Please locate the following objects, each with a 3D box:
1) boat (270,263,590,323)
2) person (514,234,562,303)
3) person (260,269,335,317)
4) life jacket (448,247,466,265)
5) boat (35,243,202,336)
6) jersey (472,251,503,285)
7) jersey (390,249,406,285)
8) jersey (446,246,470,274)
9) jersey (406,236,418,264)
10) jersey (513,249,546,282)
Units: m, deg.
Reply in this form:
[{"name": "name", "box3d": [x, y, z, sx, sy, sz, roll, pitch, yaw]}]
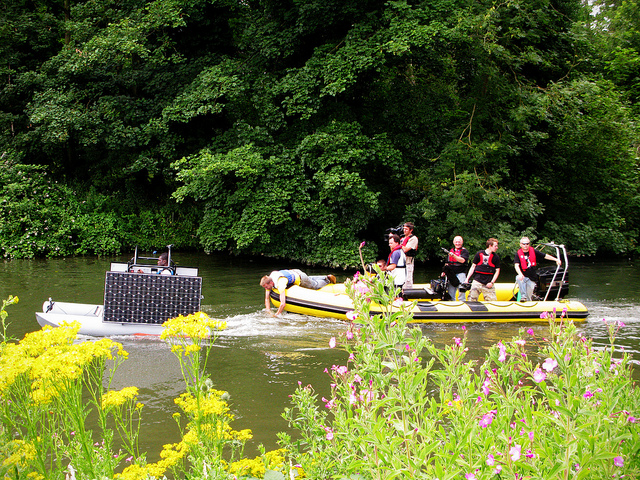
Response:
[{"name": "boat", "box3d": [2.471, 1.542, 20.269, 7.314, 1.209, 5.296, 1, -2, -19]}, {"name": "person", "box3d": [5.914, 0.816, 20.337, 1.544, 2.064, 0.665, -12, 9, -18]}, {"name": "person", "box3d": [-0.733, 1.408, 19.966, 1.519, 0.481, 1.108, 0, 11, -16]}, {"name": "life jacket", "box3d": [3.559, 0.463, 19.660, 0.381, 0.504, 0.682, -1, -9, -11]}, {"name": "boat", "box3d": [-4.394, 1.272, 17.968, 4.051, 2.139, 1.705, 3, 0, 6]}, {"name": "jersey", "box3d": [4.340, 0.654, 19.384, 0.763, 0.832, 0.483, 7, 23, 11]}, {"name": "jersey", "box3d": [1.948, 0.636, 18.821, 0.516, 0.963, 0.941, 2, 0, 19]}, {"name": "jersey", "box3d": [3.772, 0.617, 19.850, 0.534, 0.874, 0.904, 3, -6, -27]}, {"name": "jersey", "box3d": [2.418, 0.270, 19.726, 0.261, 0.714, 0.499, 0, -1, 7]}, {"name": "jersey", "box3d": [5.370, 0.725, 19.452, 0.650, 0.873, 0.232, -20, 14, -2]}]
